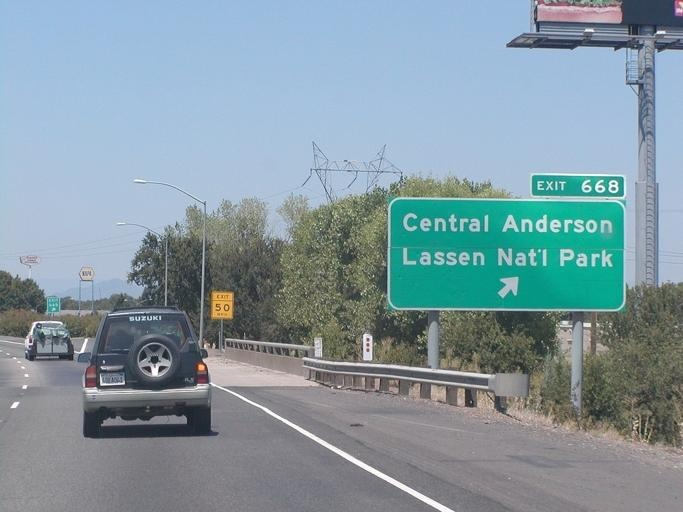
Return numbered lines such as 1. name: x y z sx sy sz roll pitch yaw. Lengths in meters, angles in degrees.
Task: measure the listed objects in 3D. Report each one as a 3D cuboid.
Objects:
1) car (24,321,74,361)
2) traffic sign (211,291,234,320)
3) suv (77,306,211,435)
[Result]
1. car: -15.675 4.551 54.615 2.262 2.079 2.272 2 -5 -21
2. traffic sign: -6.859 2.848 58.536 1.392 2.079 0.253 -1 0 -18
3. suv: -4.323 2.403 23.327 1.751 1.999 3.415 0 0 -7
